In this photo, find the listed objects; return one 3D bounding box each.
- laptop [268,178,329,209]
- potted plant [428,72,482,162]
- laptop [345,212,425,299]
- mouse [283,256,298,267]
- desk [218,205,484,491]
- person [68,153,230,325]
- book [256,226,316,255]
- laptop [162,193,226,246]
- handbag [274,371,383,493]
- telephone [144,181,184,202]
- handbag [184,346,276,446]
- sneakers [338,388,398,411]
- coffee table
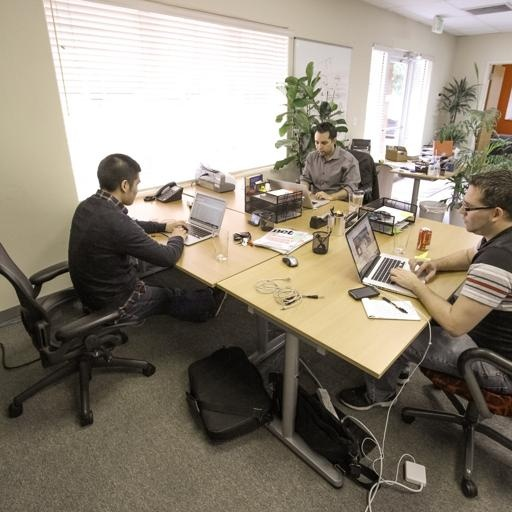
[{"bbox_3d":[0.378,-0.497,3.372,0.321,0.206,0.355,-25,33,-28],"label":"laptop"},{"bbox_3d":[3.996,-2.845,8.625,0.766,1.500,0.602,16,5,30],"label":"potted plant"},{"bbox_3d":[0.740,-0.045,2.373,0.438,0.239,0.442,8,-15,7],"label":"laptop"},{"bbox_3d":[0.204,0.024,2.448,0.049,0.029,0.085,-13,24,-22],"label":"mouse"},{"bbox_3d":[0.667,0.418,2.613,1.046,0.872,1.521,23,34,38],"label":"desk"},{"bbox_3d":[-0.649,-0.113,2.729,0.784,0.991,1.007,25,23,35],"label":"person"},{"bbox_3d":[0.183,-0.107,2.744,0.233,0.031,0.216,17,35,41],"label":"book"},{"bbox_3d":[-0.430,-0.274,2.839,0.409,0.224,0.429,-10,25,-19],"label":"laptop"},{"bbox_3d":[0.364,0.862,2.144,0.529,0.194,0.442,32,33,34],"label":"handbag"},{"bbox_3d":[-0.765,-0.536,3.613,0.219,0.092,0.260,-21,29,-31],"label":"telephone"},{"bbox_3d":[-0.108,0.726,2.382,0.542,0.410,0.156,-30,-12,33],"label":"handbag"},{"bbox_3d":[0.642,0.811,2.413,0.305,0.112,0.126,5,29,11],"label":"sneakers"},{"bbox_3d":[1.839,-0.772,4.867,0.647,0.412,0.626,-10,31,-31],"label":"coffee table"}]
